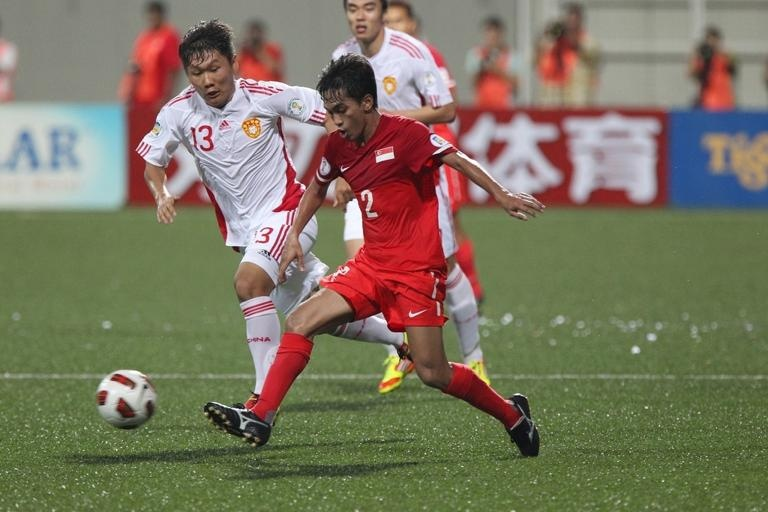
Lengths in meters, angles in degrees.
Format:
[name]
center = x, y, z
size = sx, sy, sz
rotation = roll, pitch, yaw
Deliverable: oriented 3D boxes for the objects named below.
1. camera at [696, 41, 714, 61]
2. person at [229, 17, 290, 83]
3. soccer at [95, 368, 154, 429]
[camera]
center = 2.246, -1.409, 6.907
size = 0.104, 0.115, 0.189
rotation = 7, 13, 32
[person]
center = -1.872, -2.872, 15.535
size = 0.739, 0.592, 1.775
rotation = -9, 45, -14
[soccer]
center = -1.434, 0.784, 5.588
size = 0.275, 0.294, 0.271
rotation = 11, 31, 30
